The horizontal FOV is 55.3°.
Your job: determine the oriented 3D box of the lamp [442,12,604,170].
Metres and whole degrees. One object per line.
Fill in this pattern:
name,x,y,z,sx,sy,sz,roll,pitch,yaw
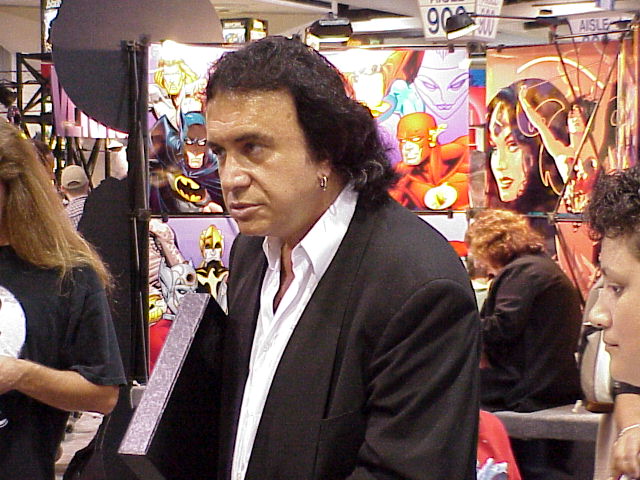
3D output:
lamp,1.722,-1.544,5.150,1.182,1.271,0.327,11,1,29
